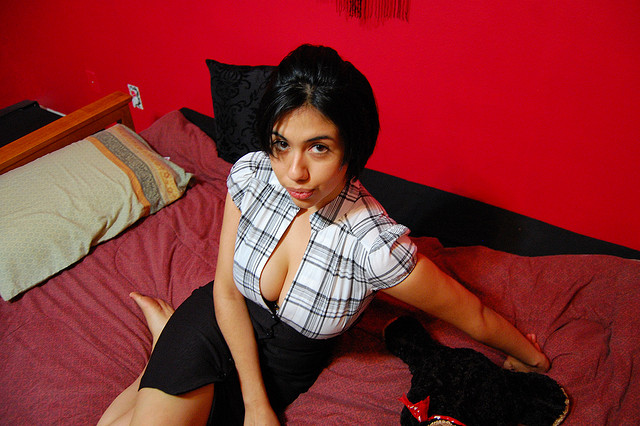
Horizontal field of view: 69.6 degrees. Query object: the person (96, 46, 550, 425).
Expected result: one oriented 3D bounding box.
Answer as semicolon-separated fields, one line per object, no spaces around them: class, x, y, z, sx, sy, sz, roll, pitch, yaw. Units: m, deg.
person;0.074;0.127;1.865;1.254;0.986;0.835;-25;57;-22
